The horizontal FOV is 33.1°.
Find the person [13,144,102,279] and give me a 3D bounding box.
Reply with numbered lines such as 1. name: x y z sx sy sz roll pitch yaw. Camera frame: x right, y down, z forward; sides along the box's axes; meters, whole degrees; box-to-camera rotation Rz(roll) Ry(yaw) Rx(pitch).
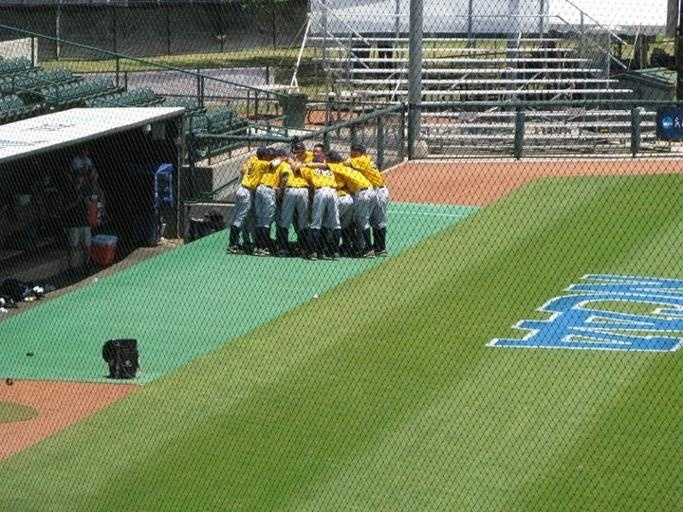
1. person: -4.418 -0.691 18.063 0.382 1.703 1.660 -9 4 45

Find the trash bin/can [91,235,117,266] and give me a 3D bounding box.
1. trash bin/can: -3.719 -0.089 17.960 0.244 0.412 0.282 12 25 21

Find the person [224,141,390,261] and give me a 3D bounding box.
1. person: 0.011 -0.758 17.507 1.374 1.597 0.549 0 16 -3

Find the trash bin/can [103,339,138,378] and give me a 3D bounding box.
1. trash bin/can: -2.621 1.215 13.896 0.445 0.524 0.367 1 6 1
